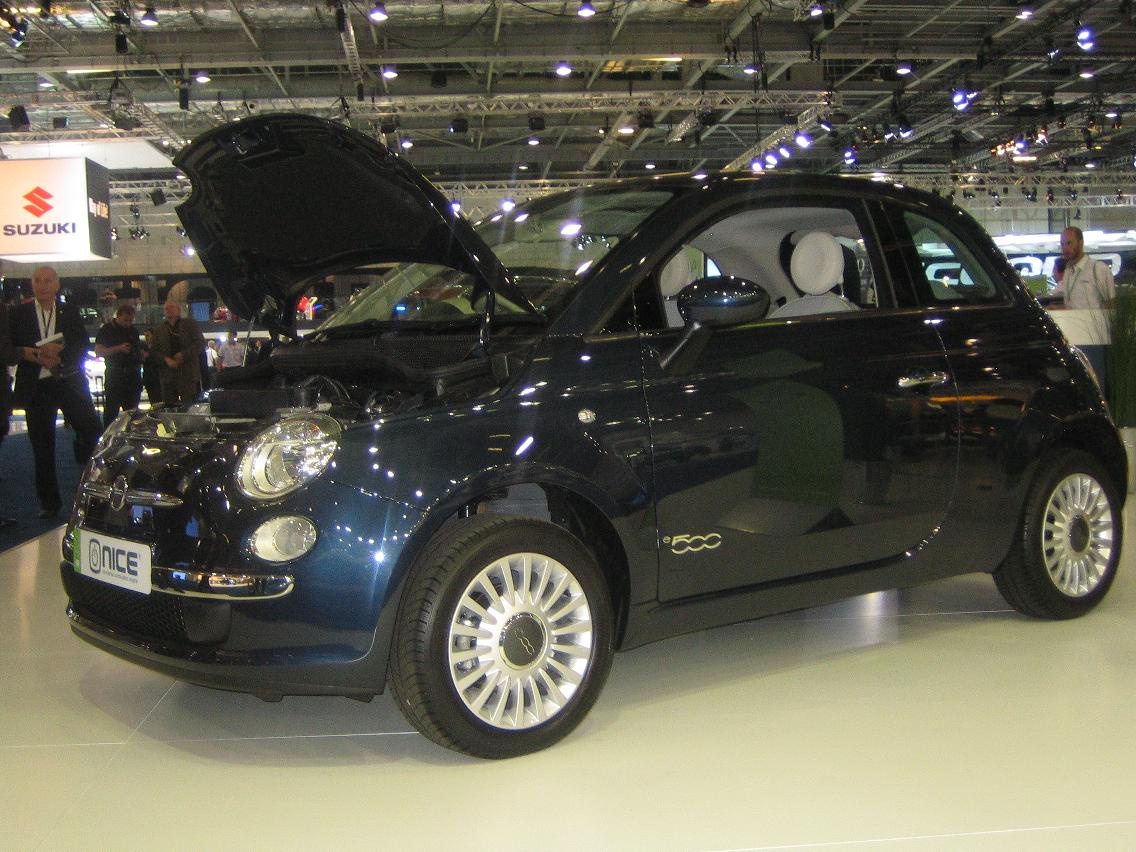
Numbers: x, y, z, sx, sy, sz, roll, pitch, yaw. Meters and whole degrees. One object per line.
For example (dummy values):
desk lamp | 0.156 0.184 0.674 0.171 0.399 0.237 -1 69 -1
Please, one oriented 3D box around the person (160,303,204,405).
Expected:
person | -4.021 -0.632 9.333 0.500 1.237 0.405 -1 19 -13

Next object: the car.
car | 0.128 0.031 3.555 3.542 1.633 1.965 -1 0 -29
